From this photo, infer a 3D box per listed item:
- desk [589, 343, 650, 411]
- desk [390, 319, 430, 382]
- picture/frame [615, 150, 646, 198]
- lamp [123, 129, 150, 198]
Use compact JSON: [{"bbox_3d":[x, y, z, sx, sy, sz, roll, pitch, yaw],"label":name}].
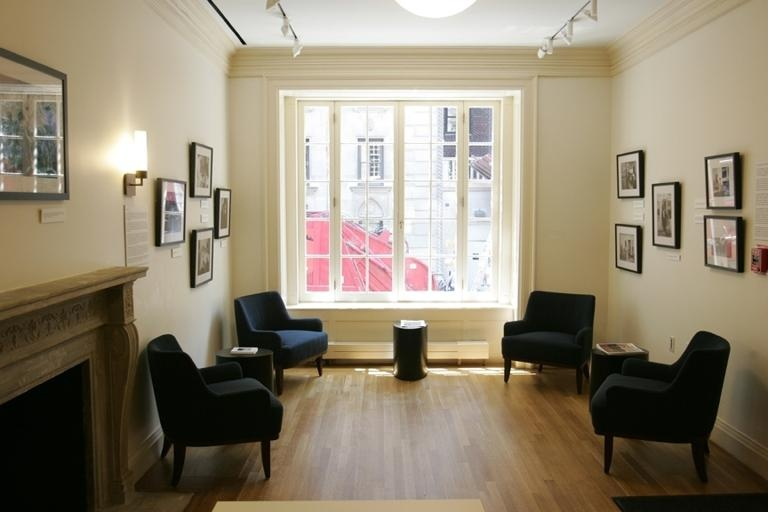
[{"bbox_3d":[2.642,1.412,6.169,0.627,0.771,0.651,1,-2,37],"label":"desk"},{"bbox_3d":[0.364,1.225,7.245,0.420,0.700,0.450,0,3,6],"label":"desk"},{"bbox_3d":[3.074,-1.081,6.936,0.544,0.561,0.051,-10,9,-36],"label":"picture/frame"},{"bbox_3d":[-2.223,-0.880,5.018,0.179,0.594,0.173,-2,12,-25],"label":"lamp"}]
